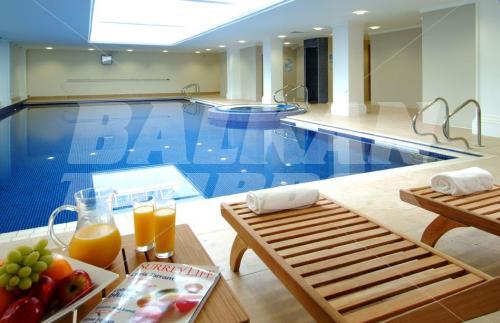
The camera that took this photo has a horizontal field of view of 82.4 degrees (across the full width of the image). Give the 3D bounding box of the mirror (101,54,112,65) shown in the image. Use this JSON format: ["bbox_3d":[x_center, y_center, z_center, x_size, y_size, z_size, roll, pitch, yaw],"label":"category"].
[{"bbox_3d":[-9.448,-6.709,18.772,0.777,0.644,0.097,2,8,-28],"label":"mirror"}]

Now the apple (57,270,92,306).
[{"bbox_3d":[-0.599,0.437,1.023,0.114,0.093,0.101,-12,-5,-2],"label":"apple"}]

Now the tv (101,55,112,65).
[{"bbox_3d":[-9.428,-6.709,18.776,0.751,0.623,0.094,2,8,-28],"label":"tv"}]

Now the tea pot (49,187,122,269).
[{"bbox_3d":[-0.732,0.311,1.296,0.343,0.283,0.223,-2,1,-16],"label":"tea pot"}]

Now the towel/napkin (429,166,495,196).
[{"bbox_3d":[1.885,0.173,2.548,0.435,0.129,0.416,-10,-6,10],"label":"towel/napkin"}]

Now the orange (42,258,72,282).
[{"bbox_3d":[-0.688,0.392,1.031,0.082,0.069,0.076,-2,-2,-28],"label":"orange"}]
